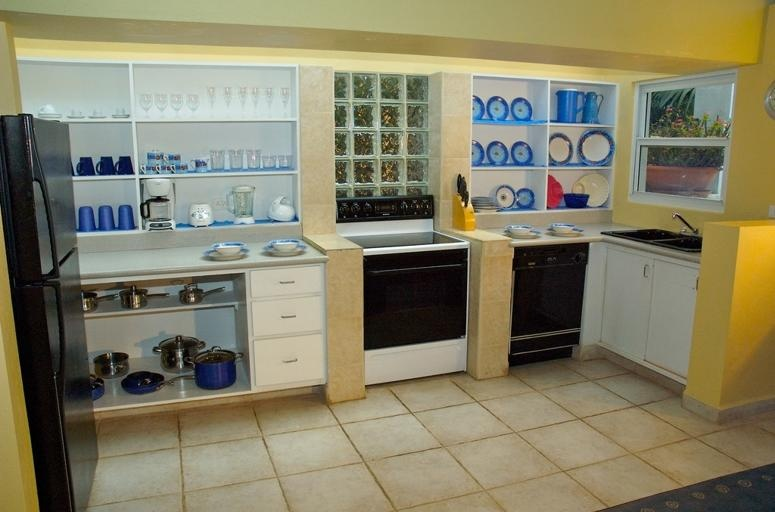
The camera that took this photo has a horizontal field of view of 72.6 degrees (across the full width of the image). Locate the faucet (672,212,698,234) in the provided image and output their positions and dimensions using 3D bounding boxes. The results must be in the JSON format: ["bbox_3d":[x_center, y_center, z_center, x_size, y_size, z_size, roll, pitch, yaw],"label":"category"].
[{"bbox_3d":[2.759,-0.300,4.862,0.221,0.215,0.484,4,16,28],"label":"faucet"}]

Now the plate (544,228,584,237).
[{"bbox_3d":[1.691,-0.234,5.019,0.329,0.058,0.275,0,14,13],"label":"plate"}]

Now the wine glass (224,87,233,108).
[{"bbox_3d":[-1.372,-1.351,4.504,0.071,0.157,0.286,-8,15,-15],"label":"wine glass"}]

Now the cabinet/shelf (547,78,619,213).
[{"bbox_3d":[1.975,-1.172,5.760,0.590,1.000,0.279,2,22,41],"label":"cabinet/shelf"}]

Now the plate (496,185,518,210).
[{"bbox_3d":[1.229,-0.607,5.461,0.250,0.224,0.071,-8,5,-15],"label":"plate"}]

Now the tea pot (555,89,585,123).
[{"bbox_3d":[1.903,-1.545,5.445,0.323,0.340,0.295,-4,15,1],"label":"tea pot"}]

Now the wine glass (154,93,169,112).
[{"bbox_3d":[-1.898,-1.269,4.379,0.109,0.139,0.300,-10,15,-21],"label":"wine glass"}]

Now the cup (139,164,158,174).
[{"bbox_3d":[-1.977,-0.702,4.347,0.158,0.071,0.099,1,-10,-3],"label":"cup"}]

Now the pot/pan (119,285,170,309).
[{"bbox_3d":[-1.993,0.326,4.237,0.172,0.149,0.387,2,2,34],"label":"pot/pan"}]

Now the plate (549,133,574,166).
[{"bbox_3d":[1.811,-1.122,5.534,0.356,0.319,0.070,-1,14,-20],"label":"plate"}]

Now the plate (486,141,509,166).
[{"bbox_3d":[1.119,-1.049,5.377,0.251,0.227,0.092,-12,17,-29],"label":"plate"}]

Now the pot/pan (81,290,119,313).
[{"bbox_3d":[-2.234,0.345,4.168,0.361,0.137,0.194,2,9,-28],"label":"pot/pan"}]

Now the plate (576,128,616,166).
[{"bbox_3d":[2.238,-1.151,5.682,0.428,0.386,0.096,-13,4,-4],"label":"plate"}]

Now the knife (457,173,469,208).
[{"bbox_3d":[0.699,-0.613,4.942,0.113,0.295,0.168,-2,15,7],"label":"knife"}]

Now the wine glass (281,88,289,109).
[{"bbox_3d":[-0.897,-1.370,4.570,0.090,0.166,0.205,-6,15,-9],"label":"wine glass"}]

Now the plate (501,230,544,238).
[{"bbox_3d":[1.259,-0.211,4.908,0.319,0.076,0.147,0,14,13],"label":"plate"}]

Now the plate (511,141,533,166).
[{"bbox_3d":[1.398,-1.049,5.457,0.267,0.238,0.059,-2,6,-17],"label":"plate"}]

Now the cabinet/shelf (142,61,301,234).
[{"bbox_3d":[-1.497,-0.959,4.548,1.631,1.365,0.459,-3,8,-18],"label":"cabinet/shelf"}]

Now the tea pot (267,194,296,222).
[{"bbox_3d":[-0.950,-0.440,4.752,0.240,0.176,0.232,2,5,0],"label":"tea pot"}]

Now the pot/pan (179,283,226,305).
[{"bbox_3d":[-1.532,0.311,4.330,0.371,0.130,0.188,0,9,-21],"label":"pot/pan"}]

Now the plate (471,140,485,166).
[{"bbox_3d":[0.894,-1.012,5.267,0.244,0.220,0.038,-6,11,-29],"label":"plate"}]

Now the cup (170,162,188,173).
[{"bbox_3d":[-1.765,-0.731,4.420,0.133,0.080,0.080,-6,17,-27],"label":"cup"}]

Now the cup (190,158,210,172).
[{"bbox_3d":[-1.617,-0.768,4.511,0.177,0.116,0.103,-4,18,-20],"label":"cup"}]

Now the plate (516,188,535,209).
[{"bbox_3d":[1.457,-0.599,5.505,0.221,0.198,0.048,-6,6,-1],"label":"plate"}]

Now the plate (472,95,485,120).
[{"bbox_3d":[0.886,-1.459,5.194,0.097,0.235,0.187,4,17,29],"label":"plate"}]

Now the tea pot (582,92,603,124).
[{"bbox_3d":[2.167,-1.555,5.564,0.362,0.319,0.143,-17,20,-42],"label":"tea pot"}]

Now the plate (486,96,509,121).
[{"bbox_3d":[1.103,-1.484,5.294,0.243,0.227,0.073,-11,17,-27],"label":"plate"}]

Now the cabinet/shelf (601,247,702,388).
[{"bbox_3d":[2.299,0.526,4.525,0.393,0.964,1.063,-9,16,-30],"label":"cabinet/shelf"}]

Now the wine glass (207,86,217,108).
[{"bbox_3d":[-1.506,-1.350,4.468,0.081,0.178,0.255,-8,15,-15],"label":"wine glass"}]

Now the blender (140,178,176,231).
[{"bbox_3d":[-1.895,-0.431,4.445,0.322,0.399,0.324,0,8,23],"label":"blender"}]

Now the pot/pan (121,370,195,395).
[{"bbox_3d":[-1.880,0.999,4.227,0.422,0.057,0.224,1,6,-29],"label":"pot/pan"}]

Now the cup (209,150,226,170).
[{"bbox_3d":[-1.480,-0.827,4.542,0.161,0.153,0.153,2,7,0],"label":"cup"}]

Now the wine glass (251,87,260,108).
[{"bbox_3d":[-1.162,-1.382,4.591,0.081,0.173,0.169,-7,15,-11],"label":"wine glass"}]

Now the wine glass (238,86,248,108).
[{"bbox_3d":[-1.251,-1.360,4.531,0.084,0.172,0.240,-8,15,-14],"label":"wine glass"}]

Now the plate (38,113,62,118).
[{"bbox_3d":[-2.636,-1.080,4.087,0.092,0.019,0.087,-1,5,-12],"label":"plate"}]

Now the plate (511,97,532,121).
[{"bbox_3d":[1.357,-1.487,5.372,0.262,0.240,0.059,-6,13,-21],"label":"plate"}]

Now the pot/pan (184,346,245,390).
[{"bbox_3d":[-1.426,0.916,4.316,0.392,0.291,0.317,1,7,10],"label":"pot/pan"}]

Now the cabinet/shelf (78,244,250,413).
[{"bbox_3d":[-1.832,0.580,4.213,1.376,1.026,0.686,-4,8,-27],"label":"cabinet/shelf"}]

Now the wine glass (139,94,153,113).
[{"bbox_3d":[-2.008,-1.267,4.358,0.116,0.161,0.312,-11,16,-24],"label":"wine glass"}]

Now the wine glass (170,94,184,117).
[{"bbox_3d":[-1.778,-1.258,4.410,0.116,0.155,0.303,-9,15,-19],"label":"wine glass"}]

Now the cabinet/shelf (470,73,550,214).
[{"bbox_3d":[1.165,-1.444,5.215,0.794,1.054,0.310,-7,15,-6],"label":"cabinet/shelf"}]

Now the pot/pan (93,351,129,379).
[{"bbox_3d":[-2.285,0.889,4.317,0.233,0.130,0.219,2,9,-5],"label":"pot/pan"}]

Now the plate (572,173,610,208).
[{"bbox_3d":[2.261,-0.721,5.846,0.393,0.358,0.091,-1,8,2],"label":"plate"}]

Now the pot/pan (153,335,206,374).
[{"bbox_3d":[-1.799,0.830,4.515,0.461,0.288,0.319,-3,6,-11],"label":"pot/pan"}]

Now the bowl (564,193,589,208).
[{"bbox_3d":[1.999,-0.578,5.588,0.192,0.101,0.188,-1,7,0],"label":"bowl"}]

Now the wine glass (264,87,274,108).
[{"bbox_3d":[-1.030,-1.368,4.573,0.080,0.153,0.285,-7,14,-10],"label":"wine glass"}]

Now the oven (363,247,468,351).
[{"bbox_3d":[0.447,0.483,4.712,1.181,0.934,0.825,-12,-17,43],"label":"oven"}]
